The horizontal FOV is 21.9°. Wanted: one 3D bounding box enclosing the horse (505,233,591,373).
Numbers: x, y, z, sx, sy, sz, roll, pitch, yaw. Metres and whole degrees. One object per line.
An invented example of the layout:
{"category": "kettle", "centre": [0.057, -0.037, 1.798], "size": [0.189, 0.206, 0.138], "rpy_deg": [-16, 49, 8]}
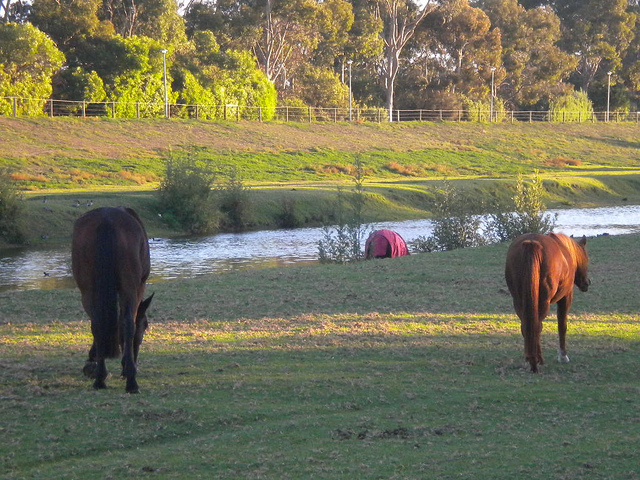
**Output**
{"category": "horse", "centre": [15.886, 4.209, 116.537], "size": [5.046, 9.621, 1.294], "rpy_deg": [-1, 3, -16]}

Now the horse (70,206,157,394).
{"category": "horse", "centre": [-13.940, 4.252, 116.333], "size": [5.762, 12.755, 6.306], "rpy_deg": [-3, 13, -23]}
